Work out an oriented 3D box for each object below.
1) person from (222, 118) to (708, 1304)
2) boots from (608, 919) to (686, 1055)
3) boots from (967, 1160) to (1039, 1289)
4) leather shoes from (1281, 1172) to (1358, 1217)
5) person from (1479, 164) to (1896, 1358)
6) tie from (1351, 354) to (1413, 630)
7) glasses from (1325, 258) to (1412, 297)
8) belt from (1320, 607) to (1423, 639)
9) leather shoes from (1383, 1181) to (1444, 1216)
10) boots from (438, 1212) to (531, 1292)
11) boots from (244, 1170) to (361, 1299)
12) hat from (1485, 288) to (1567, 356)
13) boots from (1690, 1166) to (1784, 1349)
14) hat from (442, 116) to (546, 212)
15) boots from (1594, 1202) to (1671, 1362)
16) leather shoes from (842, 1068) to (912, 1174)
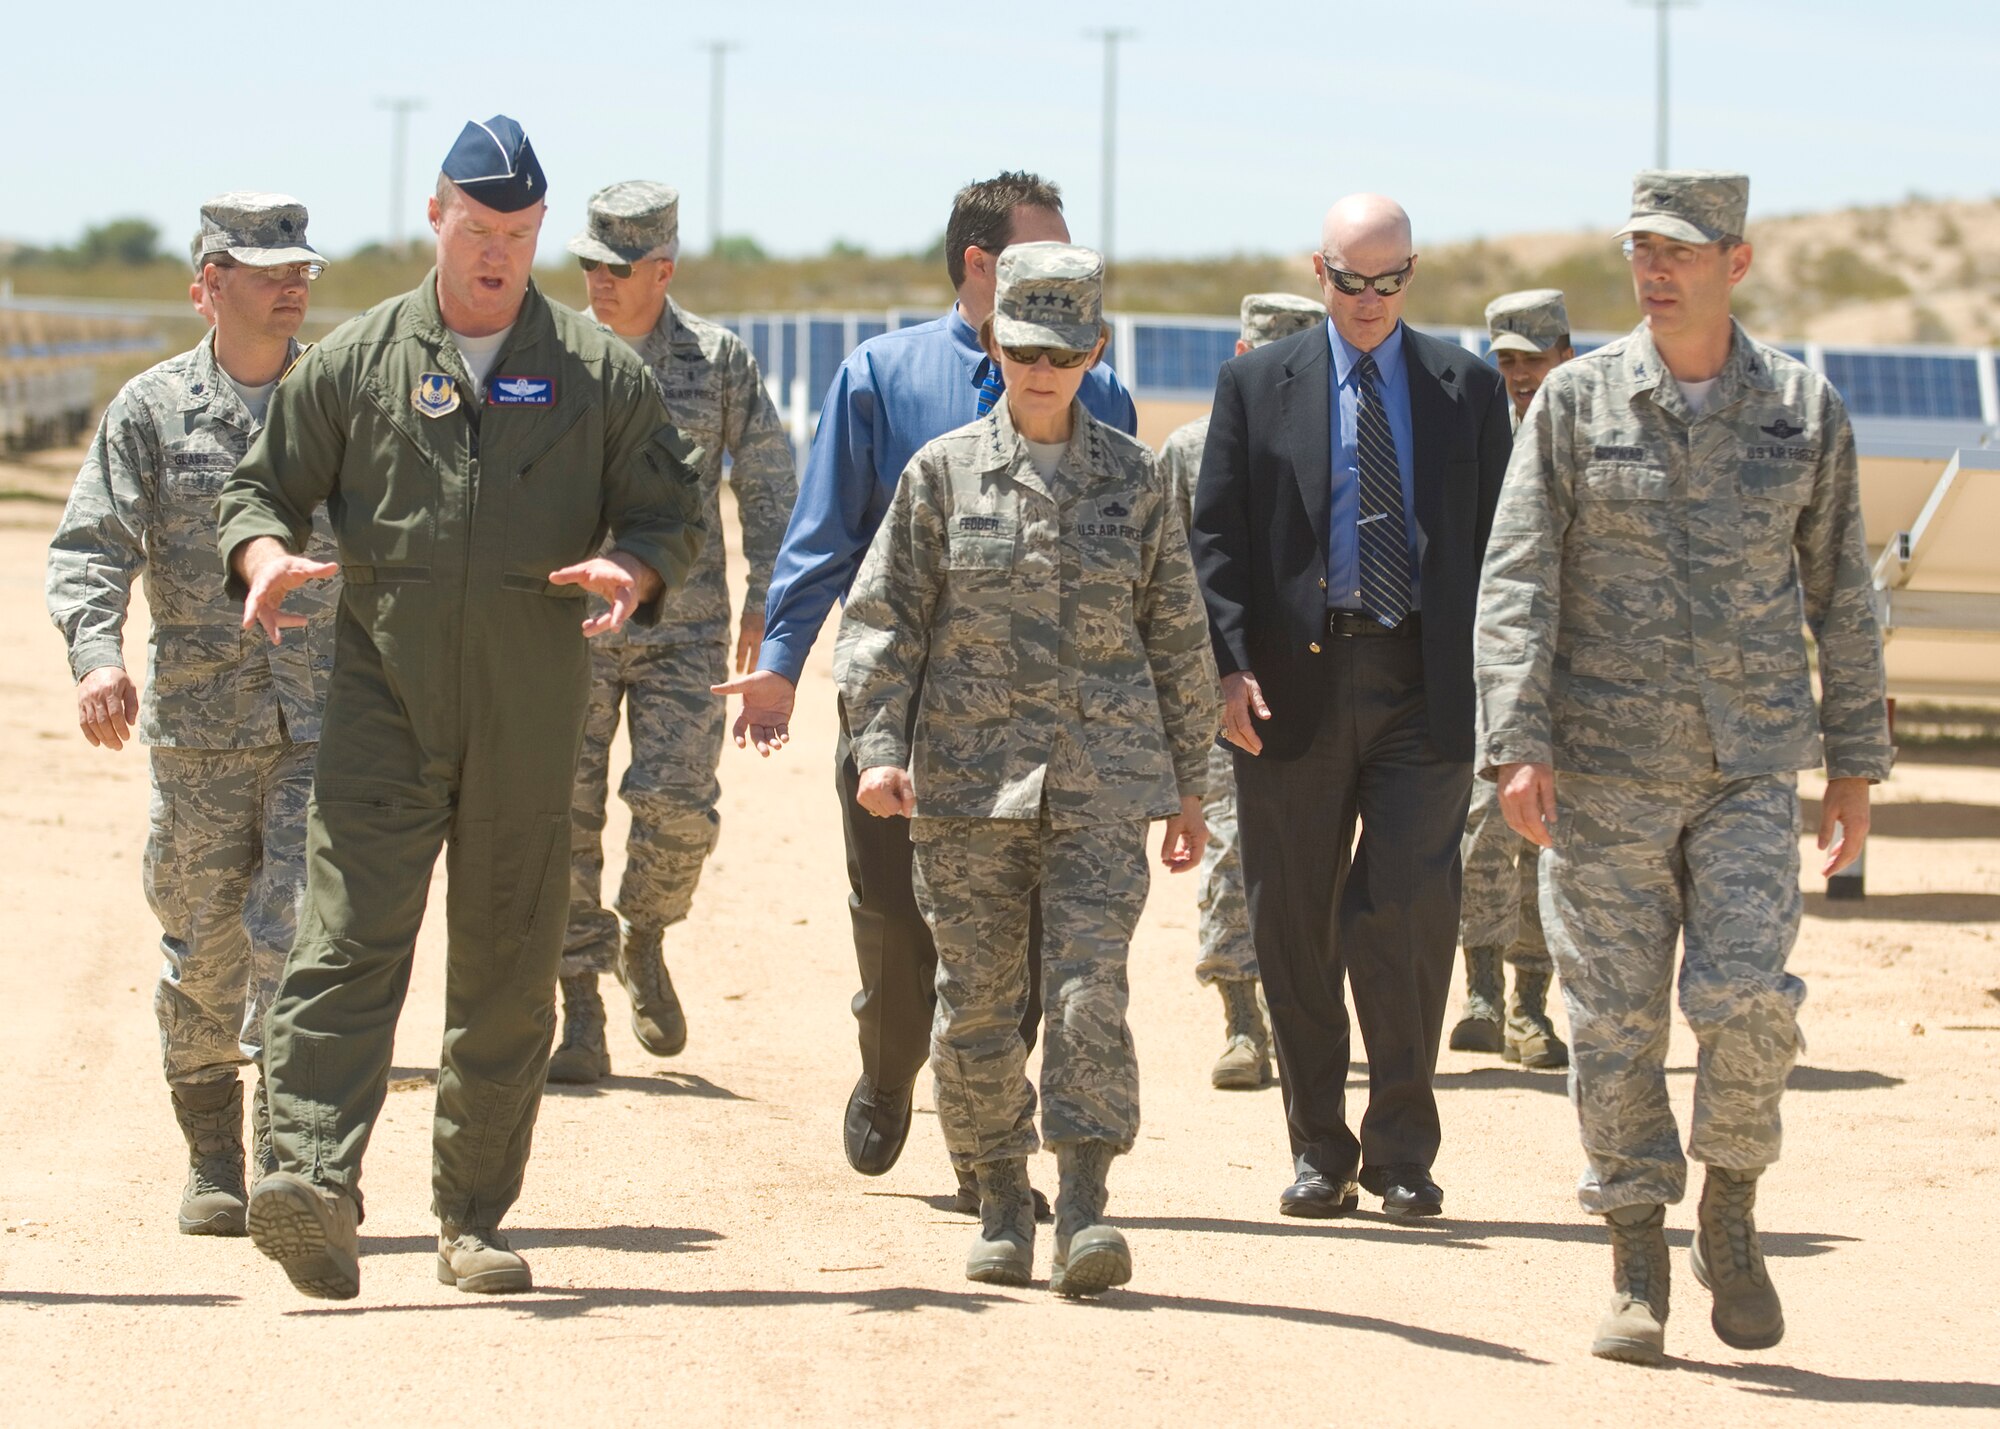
[{"bbox_3d":[-1.371,0.003,8.552,1.214,3.099,0.801,-3,10,-14],"label":"person"},{"bbox_3d":[-1.240,0.998,11.730,0.198,0.506,0.321,-19,-7,-11],"label":"boots"},{"bbox_3d":[0.007,1.373,8.976,0.167,0.329,0.362,-3,5,12],"label":"boots"},{"bbox_3d":[0.936,1.445,9.793,0.102,0.114,0.277,-2,-18,14],"label":"leather shoes"},{"bbox_3d":[1.860,0.132,8.591,0.948,3.077,0.789,0,9,2],"label":"person"},{"bbox_3d":[1.150,-0.680,9.803,0.176,0.781,0.271,0,9,5],"label":"tie"},{"bbox_3d":[1.090,-1.319,9.812,0.261,0.111,0.131,1,9,5],"label":"glasses"},{"bbox_3d":[1.099,-0.277,9.754,0.265,0.083,0.036,1,9,4],"label":"belt"},{"bbox_3d":[1.216,1.448,9.753,0.178,0.127,0.115,0,9,2],"label":"leather shoes"},{"bbox_3d":[-1.354,1.461,8.707,0.127,0.117,0.287,4,-6,-29],"label":"boots"},{"bbox_3d":[-1.736,1.353,8.374,0.186,0.407,0.200,-10,35,8],"label":"boots"},{"bbox_3d":[2.010,-1.489,12.336,0.228,0.152,0.309,-1,-4,35],"label":"hat"},{"bbox_3d":[1.930,1.446,8.584,0.231,0.501,0.236,1,9,11],"label":"boots"},{"bbox_3d":[-1.290,-1.450,8.559,0.215,0.242,0.329,-8,12,-40],"label":"hat"},{"bbox_3d":[1.642,1.484,8.572,0.177,0.379,0.311,2,9,13],"label":"boots"},{"bbox_3d":[-0.363,1.243,9.944,0.145,0.359,0.145,6,8,-4],"label":"leather shoes"}]
